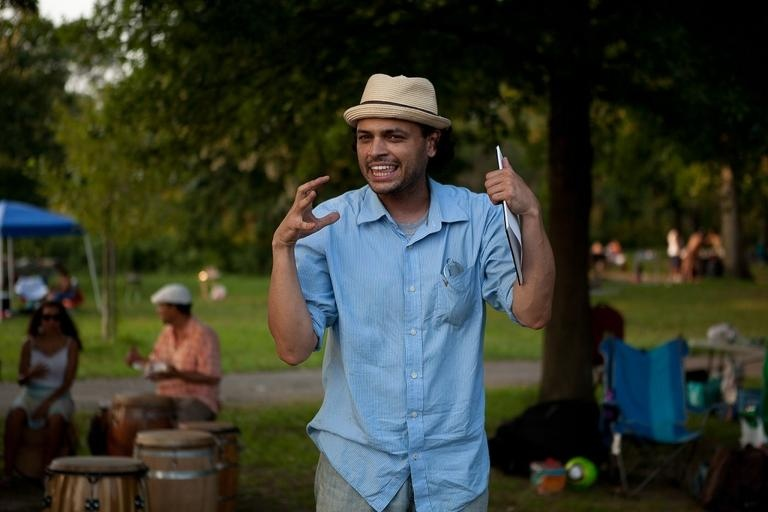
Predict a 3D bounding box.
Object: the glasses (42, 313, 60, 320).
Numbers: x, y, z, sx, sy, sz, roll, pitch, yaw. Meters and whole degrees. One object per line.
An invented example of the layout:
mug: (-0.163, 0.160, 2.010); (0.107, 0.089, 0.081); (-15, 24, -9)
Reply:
glasses: (-3.195, 0.587, 13.936); (0.162, 0.061, 0.024); (-1, -3, -17)

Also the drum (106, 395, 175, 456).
drum: (-2.267, 1.549, 13.521); (0.475, 0.585, 0.530); (2, -5, -12)
